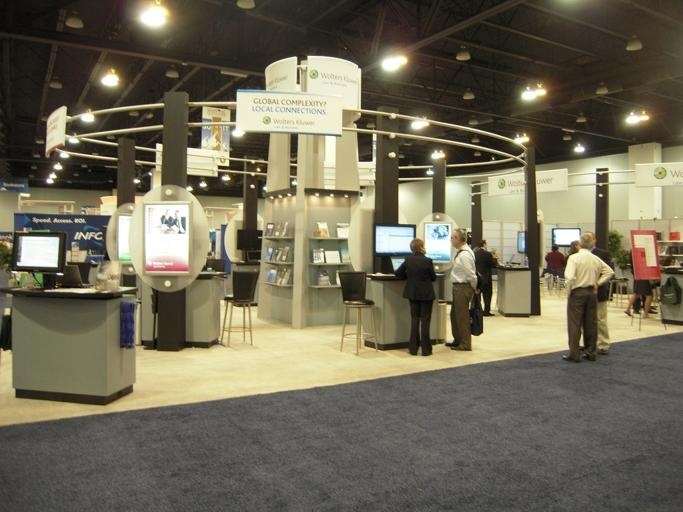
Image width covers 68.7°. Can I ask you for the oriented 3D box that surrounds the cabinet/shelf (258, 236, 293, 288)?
[{"bbox_3d":[-1.325,0.140,10.414,0.352,1.002,1.055,2,0,-39],"label":"cabinet/shelf"}]

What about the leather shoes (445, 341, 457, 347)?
[{"bbox_3d":[1.737,1.379,7.854,0.139,0.148,0.068,-2,0,23],"label":"leather shoes"}]

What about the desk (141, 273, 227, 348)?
[{"bbox_3d":[-2.553,0.851,7.966,1.484,1.491,1.024,-2,-2,36],"label":"desk"}]

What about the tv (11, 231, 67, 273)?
[{"bbox_3d":[-3.293,-0.055,5.410,0.664,0.428,0.240,2,4,25],"label":"tv"}]

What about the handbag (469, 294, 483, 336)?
[{"bbox_3d":[2.045,0.893,7.566,0.175,0.668,0.322,1,3,15],"label":"handbag"}]

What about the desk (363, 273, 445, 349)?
[{"bbox_3d":[1.031,0.640,8.241,1.488,1.511,1.009,0,-2,-28],"label":"desk"}]

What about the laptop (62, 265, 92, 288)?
[{"bbox_3d":[-3.516,0.255,6.617,0.309,0.364,0.400,-7,-10,32],"label":"laptop"}]

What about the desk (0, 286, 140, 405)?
[{"bbox_3d":[-2.946,0.676,5.684,1.430,1.511,1.074,2,2,16],"label":"desk"}]

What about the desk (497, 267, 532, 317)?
[{"bbox_3d":[3.804,0.765,10.889,0.568,1.012,1.037,0,-1,0],"label":"desk"}]

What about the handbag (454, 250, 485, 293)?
[{"bbox_3d":[1.915,0.177,7.625,0.451,0.807,0.597,1,4,10],"label":"handbag"}]

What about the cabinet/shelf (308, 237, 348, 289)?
[{"bbox_3d":[-0.291,0.130,9.623,0.946,0.958,0.280,0,-3,-29],"label":"cabinet/shelf"}]
